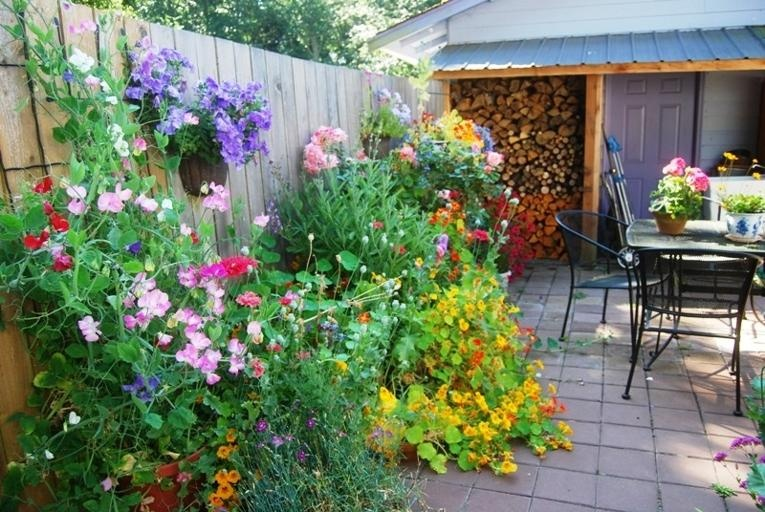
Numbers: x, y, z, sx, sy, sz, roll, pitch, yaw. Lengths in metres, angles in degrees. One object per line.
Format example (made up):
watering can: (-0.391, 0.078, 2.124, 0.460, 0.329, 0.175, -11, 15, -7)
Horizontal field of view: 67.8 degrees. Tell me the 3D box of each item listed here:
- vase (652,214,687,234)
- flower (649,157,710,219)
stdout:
vase: (2.169, -0.233, 4.332, 0.185, 0.130, 0.186, 0, 3, 0)
flower: (2.192, -0.500, 4.264, 0.347, 0.435, 0.267, 12, 18, 31)
